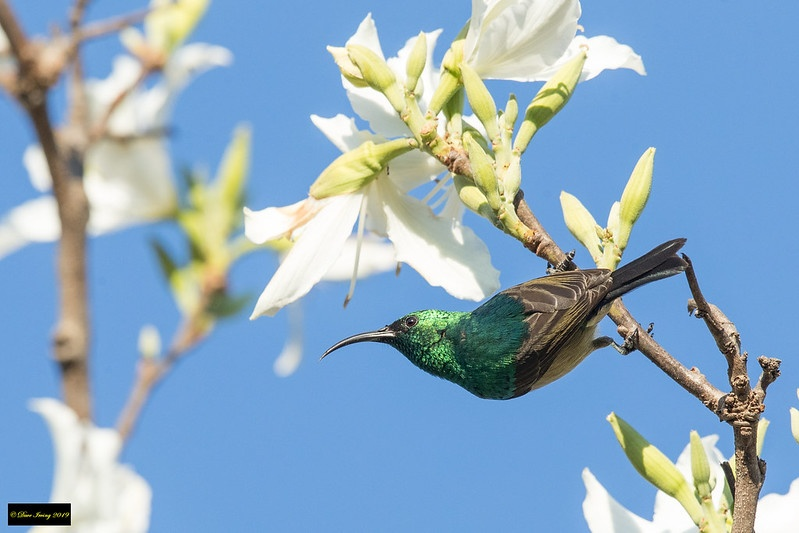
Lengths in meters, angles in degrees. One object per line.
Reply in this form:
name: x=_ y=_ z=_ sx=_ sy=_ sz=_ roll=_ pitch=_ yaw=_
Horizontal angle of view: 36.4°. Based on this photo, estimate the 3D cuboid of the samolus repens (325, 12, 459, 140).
samolus repens: x=0.008 y=-0.361 z=2.086 sx=0.199 sy=0.186 sz=0.075 roll=-30 pitch=-69 yaw=-9

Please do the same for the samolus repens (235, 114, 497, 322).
samolus repens: x=-0.064 y=-0.024 z=2.089 sx=0.353 sy=0.374 sz=0.222 roll=11 pitch=-48 yaw=39
